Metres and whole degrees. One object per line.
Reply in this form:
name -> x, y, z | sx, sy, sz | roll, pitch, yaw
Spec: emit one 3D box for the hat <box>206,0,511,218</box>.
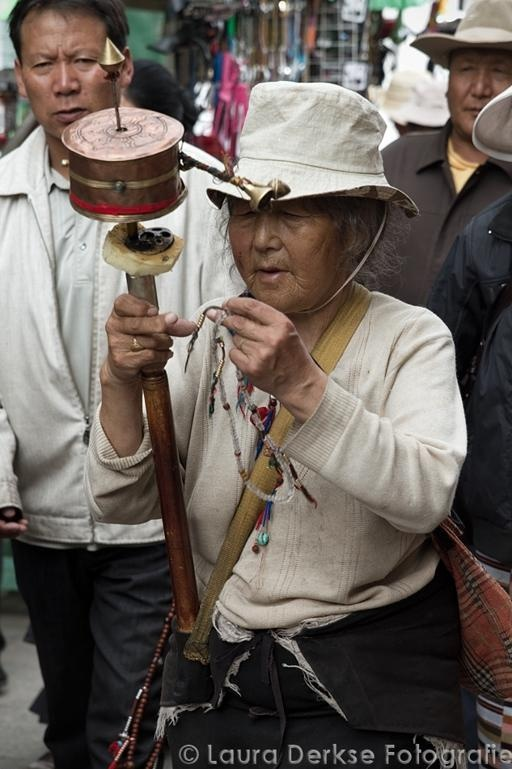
hat -> 0.128, -0.522, 1.777 | 0.376, 0.186, 0.379 | 9, 4, -3
